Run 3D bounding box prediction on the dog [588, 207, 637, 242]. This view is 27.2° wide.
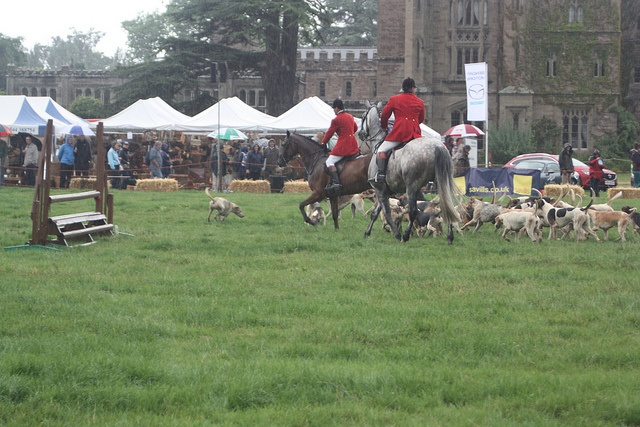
[{"bbox_3d":[15.869,0.561,72.665,1.453,2.175,3.145,-2,-1,4],"label":"dog"}]

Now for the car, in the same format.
[{"bbox_3d":[16.070,-2.831,88.465,6.896,2.533,3.215,-1,2,24],"label":"car"}]

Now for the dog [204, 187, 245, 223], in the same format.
[{"bbox_3d":[-5.436,-0.292,75.362,2.586,1.863,0.865,16,-15,-34],"label":"dog"}]

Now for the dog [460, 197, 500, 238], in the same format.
[{"bbox_3d":[9.270,0.007,73.549,2.873,1.903,0.877,9,9,28],"label":"dog"}]

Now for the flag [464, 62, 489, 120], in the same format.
[{"bbox_3d":[10.222,-7.839,86.437,1.228,4.047,1.165,-4,9,14],"label":"flag"}]
